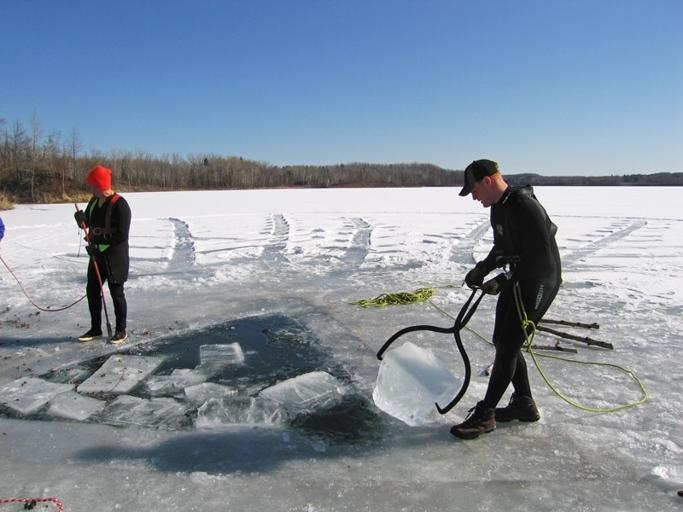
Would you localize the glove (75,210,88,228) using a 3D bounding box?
[{"bbox_3d":[-2.832,-0.411,5.125,0.083,0.198,0.161,-13,37,-19],"label":"glove"}]

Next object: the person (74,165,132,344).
[{"bbox_3d":[-2.555,-0.057,5.013,0.587,1.787,0.667,-1,11,-8],"label":"person"}]

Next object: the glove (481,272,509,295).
[{"bbox_3d":[1.131,0.190,3.491,0.120,0.215,0.082,45,-8,-4],"label":"glove"}]

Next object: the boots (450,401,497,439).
[{"bbox_3d":[0.986,1.182,3.499,0.418,0.211,0.147,-1,6,-30],"label":"boots"}]

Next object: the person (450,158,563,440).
[{"bbox_3d":[1.205,0.300,3.454,0.737,1.983,0.613,4,12,20],"label":"person"}]

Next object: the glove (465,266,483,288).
[{"bbox_3d":[0.984,0.140,3.514,0.095,0.146,0.117,0,18,-32],"label":"glove"}]

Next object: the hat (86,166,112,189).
[{"bbox_3d":[-2.585,-0.833,5.083,0.273,0.254,0.376,4,15,-31],"label":"hat"}]

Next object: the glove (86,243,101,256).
[{"bbox_3d":[-2.617,-0.078,4.936,0.135,0.124,0.086,4,11,20],"label":"glove"}]
